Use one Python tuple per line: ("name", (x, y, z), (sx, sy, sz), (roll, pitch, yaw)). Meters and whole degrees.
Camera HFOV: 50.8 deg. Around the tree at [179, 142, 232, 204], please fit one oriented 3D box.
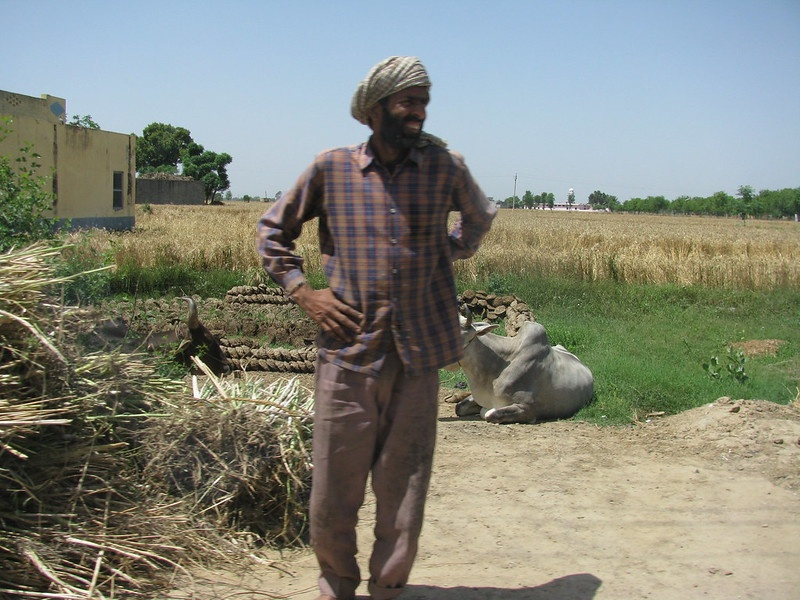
("tree", (-17.887, -11.836, 78.075), (3.764, 5.269, 4.566), (-1, 11, -4))
